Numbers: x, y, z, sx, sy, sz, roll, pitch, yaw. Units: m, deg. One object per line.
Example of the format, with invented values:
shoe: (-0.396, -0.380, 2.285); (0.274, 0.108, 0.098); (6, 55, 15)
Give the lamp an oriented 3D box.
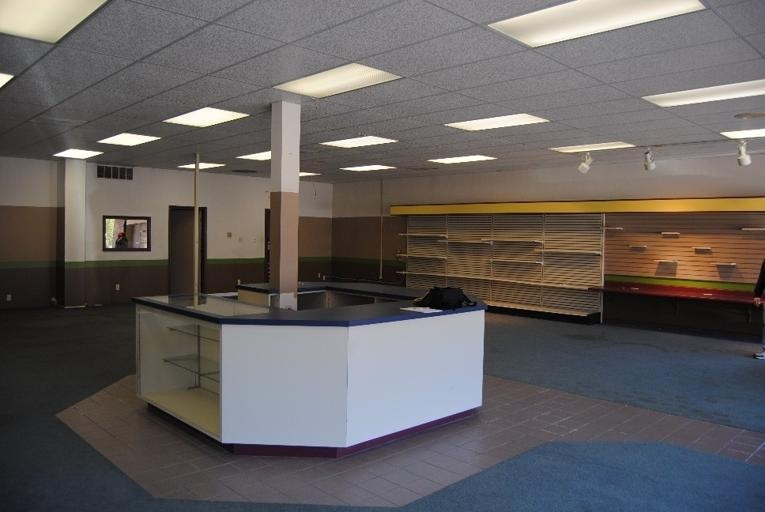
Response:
lamp: (5.428, -1.878, 9.424); (2.828, 0.512, 2.214); (0, 2, 31)
